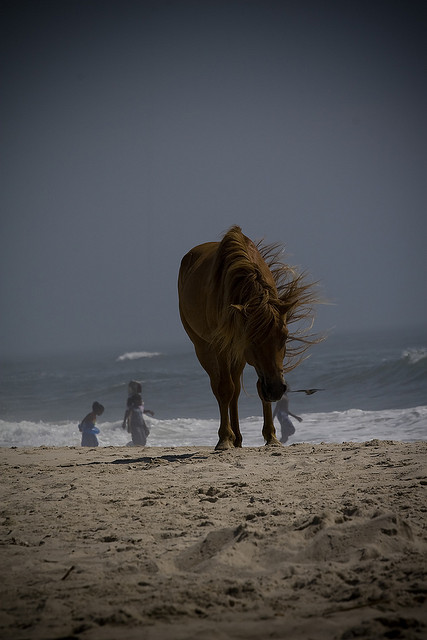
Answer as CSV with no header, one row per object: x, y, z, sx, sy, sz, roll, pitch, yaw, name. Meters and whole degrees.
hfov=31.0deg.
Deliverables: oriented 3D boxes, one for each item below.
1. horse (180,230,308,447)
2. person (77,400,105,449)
0.197,0.142,6.512,0.850,1.899,1.972,4,-3,-6,horse
-1.952,1.833,12.493,0.427,1.048,0.388,-3,19,-12,person
